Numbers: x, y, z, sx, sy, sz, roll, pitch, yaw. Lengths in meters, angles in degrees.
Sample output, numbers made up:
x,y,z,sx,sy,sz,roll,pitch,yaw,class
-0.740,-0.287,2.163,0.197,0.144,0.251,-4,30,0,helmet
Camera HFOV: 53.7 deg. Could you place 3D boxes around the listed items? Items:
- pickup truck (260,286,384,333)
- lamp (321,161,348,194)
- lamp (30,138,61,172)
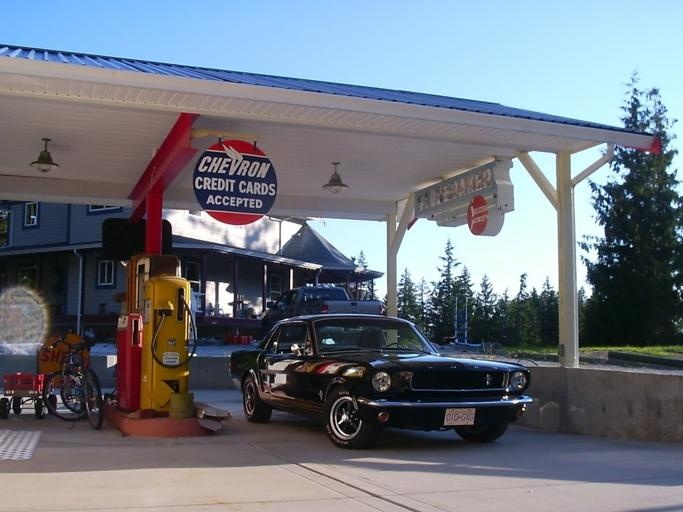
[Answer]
x,y,z,sx,sy,sz,roll,pitch,yaw,class
-0.618,1.469,20.018,1.592,1.115,2.956,3,-2,-32,pickup truck
-0.142,-1.572,13.693,0.493,0.607,0.519,0,-5,-6,lamp
-5.212,-1.726,11.778,0.272,0.492,0.939,2,-3,-25,lamp
